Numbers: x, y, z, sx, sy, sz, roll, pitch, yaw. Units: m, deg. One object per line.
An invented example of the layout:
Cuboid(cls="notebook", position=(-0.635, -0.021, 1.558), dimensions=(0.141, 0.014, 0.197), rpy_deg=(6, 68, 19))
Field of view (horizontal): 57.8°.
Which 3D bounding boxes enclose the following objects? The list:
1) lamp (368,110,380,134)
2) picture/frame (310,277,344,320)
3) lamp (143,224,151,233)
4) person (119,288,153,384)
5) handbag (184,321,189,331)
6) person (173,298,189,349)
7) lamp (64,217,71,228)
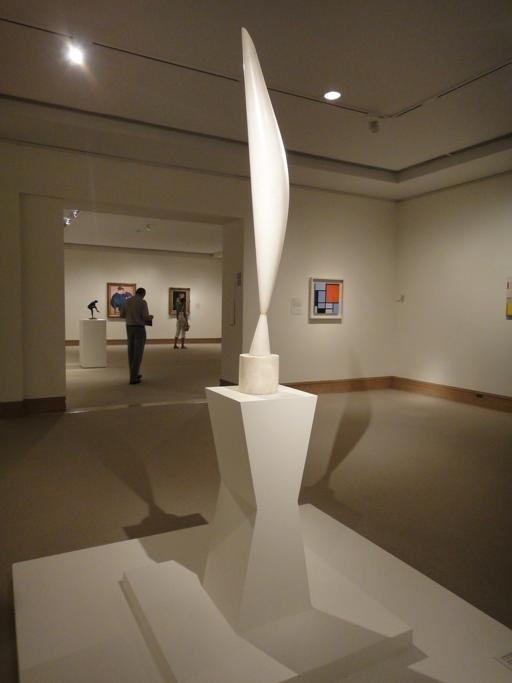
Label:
Cuboid(cls="lamp", position=(1.185, -2.223, 4.700), dimensions=(0.112, 0.269, 0.118), rpy_deg=(-1, -1, -18))
Cuboid(cls="picture/frame", position=(1.049, -0.632, 6.929), dimensions=(0.468, 0.710, 0.038), rpy_deg=(3, 40, 11))
Cuboid(cls="lamp", position=(-2.593, -2.639, 11.011), dimensions=(0.153, 0.253, 0.067), rpy_deg=(18, 10, 40))
Cuboid(cls="person", position=(-1.991, -0.100, 7.654), dimensions=(0.423, 1.543, 0.708), rpy_deg=(1, 4, -34))
Cuboid(cls="handbag", position=(-2.184, -0.470, 14.269), dimensions=(0.155, 0.303, 0.263), rpy_deg=(1, -7, -5))
Cuboid(cls="person", position=(-2.336, -0.517, 14.290), dimensions=(0.443, 1.809, 0.352), rpy_deg=(-2, -26, -5))
Cuboid(cls="lamp", position=(-4.202, -2.687, 10.324), dimensions=(0.138, 0.140, 1.411), rpy_deg=(3, 5, -23))
